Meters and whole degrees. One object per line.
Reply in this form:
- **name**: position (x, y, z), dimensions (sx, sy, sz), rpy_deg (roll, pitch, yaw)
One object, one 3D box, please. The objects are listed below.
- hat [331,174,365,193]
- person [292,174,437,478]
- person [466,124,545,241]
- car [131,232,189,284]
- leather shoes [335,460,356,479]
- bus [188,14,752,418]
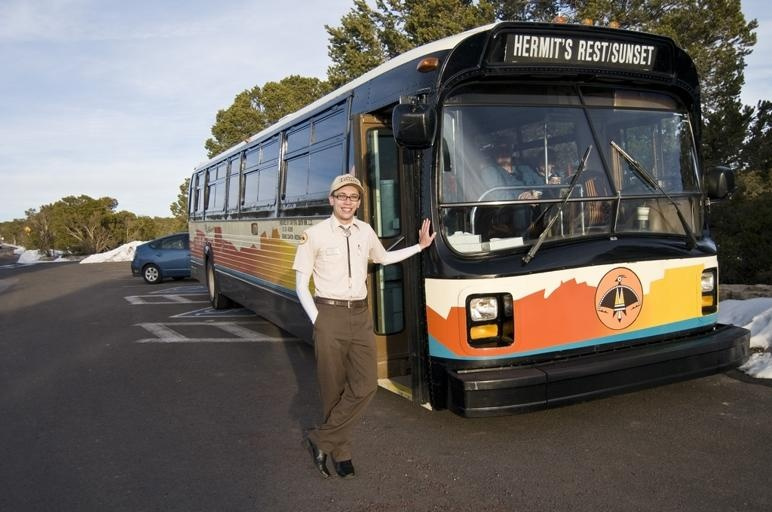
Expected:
- **hat**: position (-0.399, -0.709, 5.289), dimensions (0.291, 0.172, 0.182), rpy_deg (-5, 9, -12)
- **person**: position (-0.304, 0.696, 5.493), dimensions (1.151, 3.019, 0.450), rpy_deg (-5, 8, -13)
- **person**: position (1.332, -0.803, 5.898), dimensions (0.894, 1.129, 0.328), rpy_deg (-4, 8, -8)
- **car**: position (-8.465, 0.078, 20.916), dimensions (2.599, 1.272, 1.459), rpy_deg (-6, 7, -11)
- **leather shoes**: position (-0.411, 2.144, 5.454), dimensions (0.097, 0.120, 0.282), rpy_deg (0, -9, -21)
- **bus**: position (-0.434, -1.024, 9.827), dimensions (3.562, 3.134, 10.862), rpy_deg (-6, 10, -29)
